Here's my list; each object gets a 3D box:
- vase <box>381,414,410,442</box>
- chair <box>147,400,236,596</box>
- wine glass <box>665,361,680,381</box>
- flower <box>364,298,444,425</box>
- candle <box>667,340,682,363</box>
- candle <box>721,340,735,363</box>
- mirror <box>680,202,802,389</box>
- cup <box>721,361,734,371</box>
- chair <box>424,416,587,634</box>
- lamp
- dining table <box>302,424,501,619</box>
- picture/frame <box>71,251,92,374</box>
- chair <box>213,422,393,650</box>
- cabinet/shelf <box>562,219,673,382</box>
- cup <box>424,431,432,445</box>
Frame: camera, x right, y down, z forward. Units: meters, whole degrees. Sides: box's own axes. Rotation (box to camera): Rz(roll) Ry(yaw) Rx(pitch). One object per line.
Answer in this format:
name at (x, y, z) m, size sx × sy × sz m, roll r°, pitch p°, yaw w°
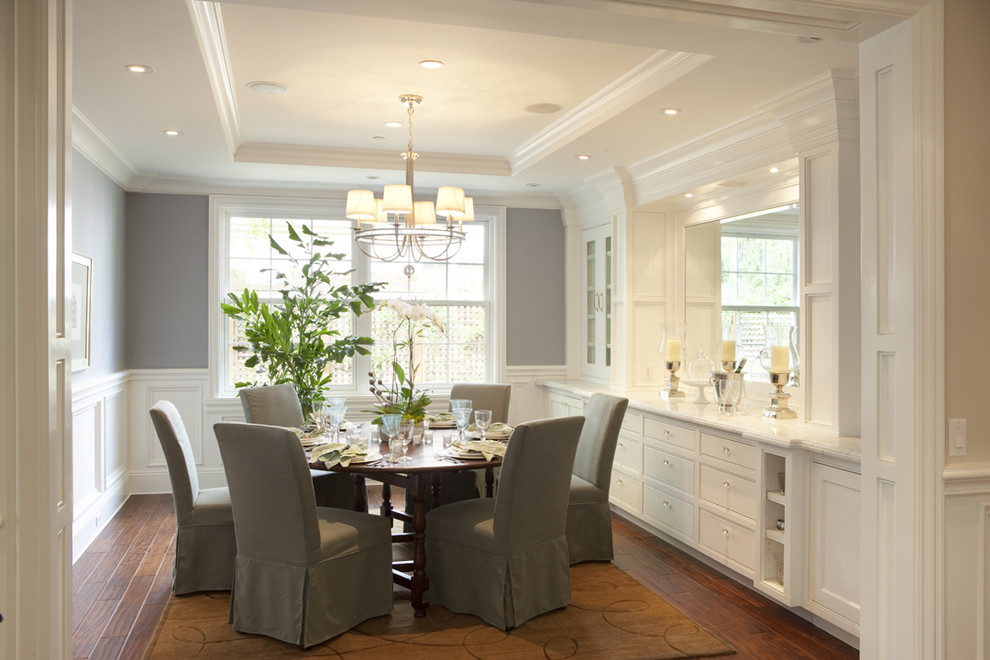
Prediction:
vase at (-0.631, 0.627, 4.374) m, size 0.183 × 0.238 × 0.188 m, roll 1°, pitch -7°, yaw -9°
chair at (-1.834, 1.090, 4.594) m, size 0.837 × 1.127 × 0.732 m, roll -1°, pitch 3°, yaw -24°
wine glass at (1.504, 0.331, 5.742) m, size 0.145 × 0.185 × 0.142 m, roll 0°, pitch -6°, yaw -4°
flower at (-0.639, 0.286, 4.760) m, size 0.586 × 0.883 × 0.550 m, roll 1°, pitch -2°, yaw -11°
candle at (1.501, 0.183, 5.808) m, size 0.156 × 0.167 × 0.152 m, roll 0°, pitch 0°, yaw 2°
candle at (1.732, 0.156, 5.037) m, size 0.090 × 0.161 × 0.143 m, roll 4°, pitch 7°, yaw 31°
mirror at (1.924, -0.260, 5.252) m, size 0.080 × 1.598 × 1.639 m, roll 0°, pitch 0°, yaw -22°
cup at (1.714, 0.256, 4.992) m, size 0.077 × 0.076 × 0.114 m, roll 1°, pitch 6°, yaw 3°
chair at (0.028, 1.132, 4.267) m, size 0.895 × 1.149 × 0.920 m, roll 1°, pitch 0°, yaw -26°
lamp at (-0.610, -1.095, 4.906) m, size 0.940 × 1.093 × 0.915 m, roll -4°, pitch 6°, yaw -44°
dining table at (-0.750, 1.256, 4.519) m, size 1.233 × 0.733 × 1.228 m, roll 3°, pitch -6°, yaw -3°
picture/frame at (-3.162, -0.139, 5.192) m, size 0.077 × 0.868 × 0.500 m, roll -2°, pitch 7°, yaw -22°
chair at (-1.124, 1.144, 4.093) m, size 0.758 × 1.164 × 0.859 m, roll -2°, pitch -5°, yaw 31°
cabinet/shelf at (1.216, -0.297, 6.666) m, size 0.712 × 1.686 × 1.337 m, roll -1°, pitch 7°, yaw -12°
cup at (-0.457, 0.736, 4.664) m, size 0.066 × 0.089 × 0.065 m, roll -1°, pitch -2°, yaw 0°
